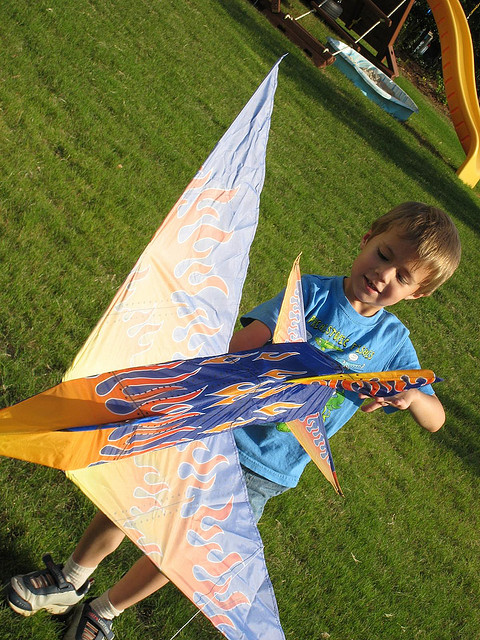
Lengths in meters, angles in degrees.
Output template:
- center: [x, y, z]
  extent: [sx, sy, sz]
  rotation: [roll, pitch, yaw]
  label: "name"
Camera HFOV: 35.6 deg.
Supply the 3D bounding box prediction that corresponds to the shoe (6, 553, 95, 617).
- center: [-0.700, 1.023, 2.884]
  extent: [0.330, 0.156, 0.146]
  rotation: [17, 42, -56]
  label: "shoe"
